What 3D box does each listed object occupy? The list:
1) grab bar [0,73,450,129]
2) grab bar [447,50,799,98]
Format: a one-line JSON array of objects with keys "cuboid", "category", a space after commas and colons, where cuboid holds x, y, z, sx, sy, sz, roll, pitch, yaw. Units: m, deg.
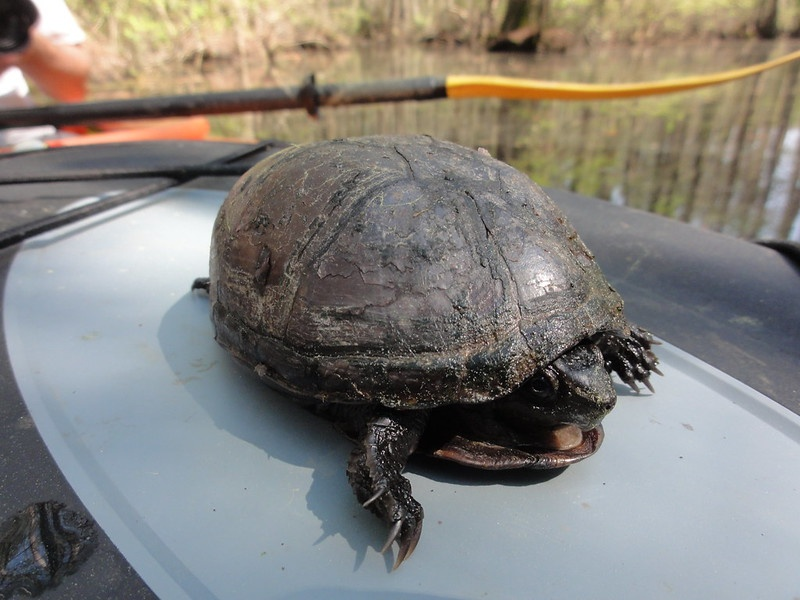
[{"cuboid": [-1.106, -1.211, 4.055, 2.802, 0.304, 0.355, 2, 39, 16], "category": "grab bar"}, {"cuboid": [1.305, -1.251, 3.747, 2.404, 0.162, 0.369, 0, 50, 3], "category": "grab bar"}]
